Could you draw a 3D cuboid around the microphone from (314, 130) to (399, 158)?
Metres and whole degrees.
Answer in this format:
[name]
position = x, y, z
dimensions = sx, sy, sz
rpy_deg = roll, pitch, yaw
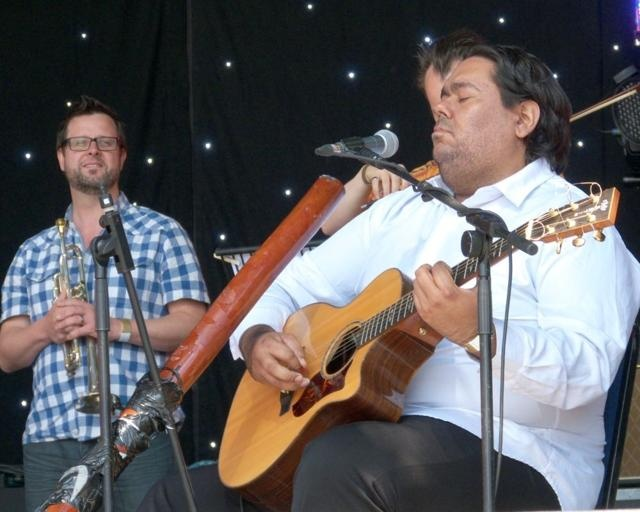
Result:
[microphone]
position = 0.134, -0.317, 2.371
dimensions = 0.097, 0.109, 0.378
rpy_deg = 21, 15, 29

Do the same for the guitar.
[guitar]
position = 0.186, 0.523, 2.569
dimensions = 0.224, 0.820, 1.590
rpy_deg = 33, -49, -24

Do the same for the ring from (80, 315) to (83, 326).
[ring]
position = -0.996, 0.270, 3.142
dimensions = 0.018, 0.029, 0.019
rpy_deg = -8, -11, -1

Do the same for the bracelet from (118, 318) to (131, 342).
[bracelet]
position = -0.831, 0.312, 3.188
dimensions = 0.031, 0.092, 0.085
rpy_deg = -2, 2, -6
